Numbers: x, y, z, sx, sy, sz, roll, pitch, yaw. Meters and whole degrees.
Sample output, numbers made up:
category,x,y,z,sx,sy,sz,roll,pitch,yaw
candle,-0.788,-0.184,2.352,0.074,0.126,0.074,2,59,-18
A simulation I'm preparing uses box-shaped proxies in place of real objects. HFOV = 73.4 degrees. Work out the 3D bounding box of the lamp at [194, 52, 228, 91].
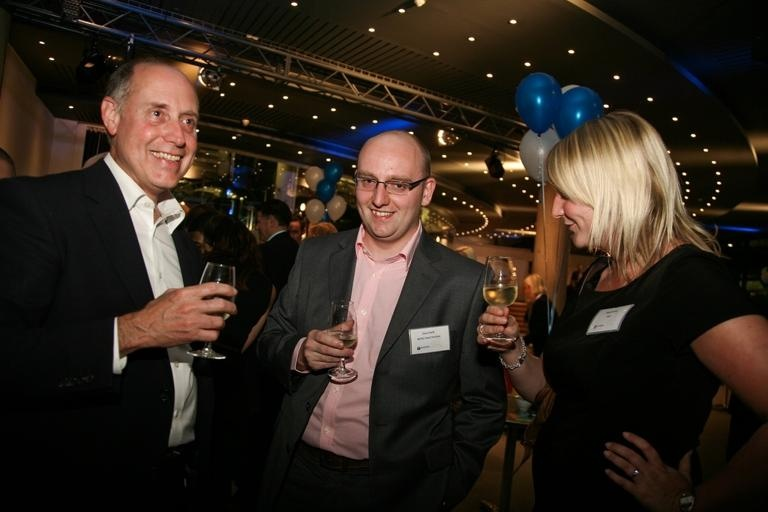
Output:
category,x,y,z,sx,sy,sz,roll,pitch,yaw
lamp,-2.839,-3.003,8.389,0.518,0.549,0.580,0,27,-23

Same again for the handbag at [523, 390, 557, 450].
category,x,y,z,sx,sy,sz,roll,pitch,yaw
handbag,0.902,0.826,2.858,0.182,0.084,0.492,-22,4,23

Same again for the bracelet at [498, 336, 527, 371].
category,x,y,z,sx,sy,sz,roll,pitch,yaw
bracelet,0.660,0.526,2.672,0.129,0.178,0.052,-19,48,-24

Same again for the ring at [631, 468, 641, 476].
category,x,y,z,sx,sy,sz,roll,pitch,yaw
ring,1.011,0.867,2.065,0.018,0.031,0.031,47,46,7
